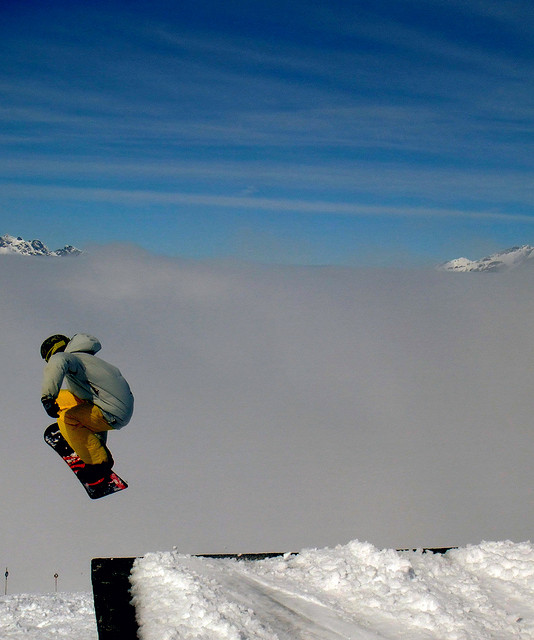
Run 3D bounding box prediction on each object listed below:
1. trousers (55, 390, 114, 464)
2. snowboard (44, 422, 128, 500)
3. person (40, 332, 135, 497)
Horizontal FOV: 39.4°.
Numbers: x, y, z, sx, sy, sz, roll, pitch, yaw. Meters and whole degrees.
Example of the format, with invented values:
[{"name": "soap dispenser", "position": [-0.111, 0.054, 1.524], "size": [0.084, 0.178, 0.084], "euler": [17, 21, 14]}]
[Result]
[{"name": "trousers", "position": [-2.372, 1.355, 9.825], "size": [0.824, 0.848, 0.901], "euler": [-5, 6, -21]}, {"name": "snowboard", "position": [-2.371, 1.775, 9.649], "size": [0.568, 1.352, 0.182], "euler": [-18, 41, 6]}, {"name": "person", "position": [-2.385, 1.245, 9.332], "size": [0.880, 2.096, 1.333], "euler": [11, 12, 22]}]
